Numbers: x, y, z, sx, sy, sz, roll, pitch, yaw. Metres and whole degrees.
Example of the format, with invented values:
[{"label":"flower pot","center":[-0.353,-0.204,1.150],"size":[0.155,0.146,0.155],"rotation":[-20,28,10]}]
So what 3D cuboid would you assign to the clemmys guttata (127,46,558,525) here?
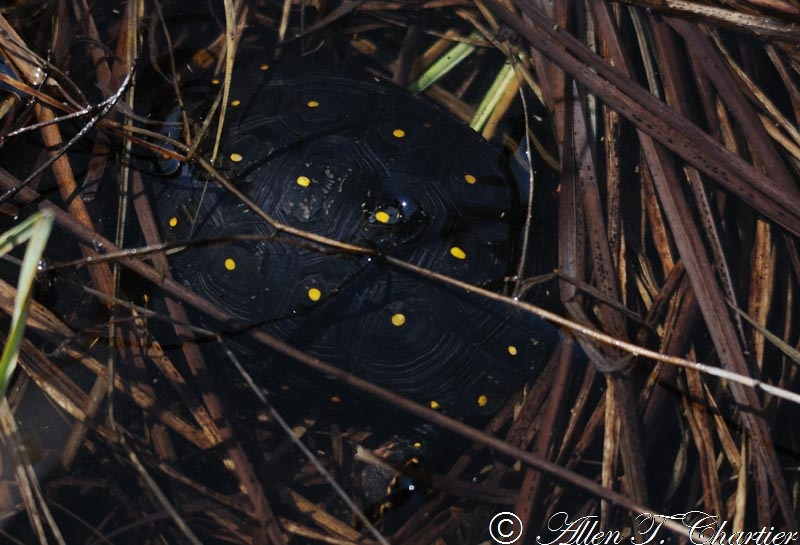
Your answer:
[{"label":"clemmys guttata","center":[-0.228,-0.057,5.252],"size":[2.197,1.210,1.355],"rotation":[29,50,19]}]
